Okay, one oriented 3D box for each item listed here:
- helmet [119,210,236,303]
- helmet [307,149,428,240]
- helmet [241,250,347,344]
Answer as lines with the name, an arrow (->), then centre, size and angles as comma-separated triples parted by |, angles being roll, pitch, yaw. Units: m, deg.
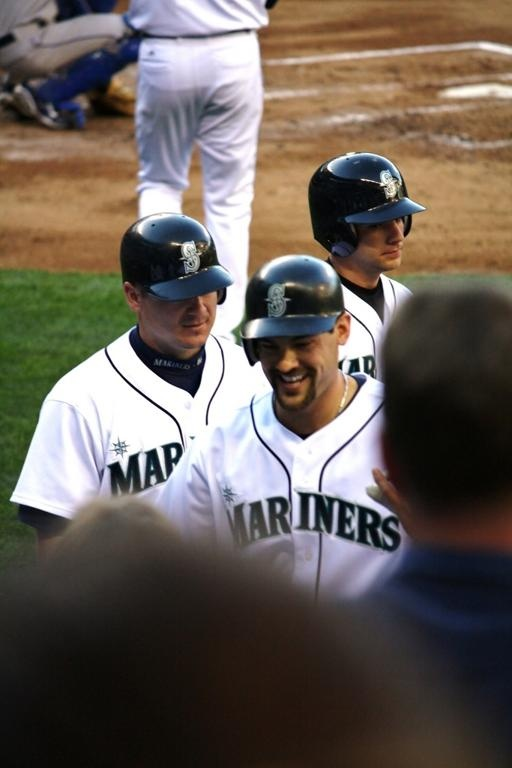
helmet -> -0.369, -0.609, 4.121 | 0.415, 0.268, 0.544 | -24, 41, -36
helmet -> 0.554, -0.948, 4.814 | 0.491, 0.478, 0.627 | -25, 32, -33
helmet -> 0.117, -0.316, 3.300 | 0.372, 0.239, 0.463 | -3, 13, 14
